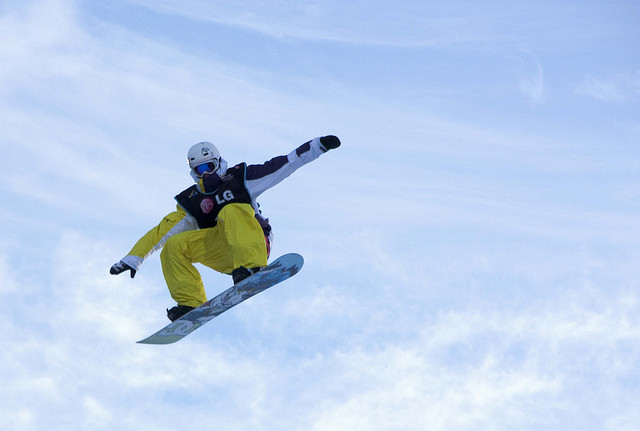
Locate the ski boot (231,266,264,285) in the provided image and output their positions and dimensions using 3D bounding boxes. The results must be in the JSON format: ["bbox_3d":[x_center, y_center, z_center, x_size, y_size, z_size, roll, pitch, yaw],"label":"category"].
[{"bbox_3d":[-1.335,1.006,19.591,0.437,0.354,0.217,63,14,-89],"label":"ski boot"}]
